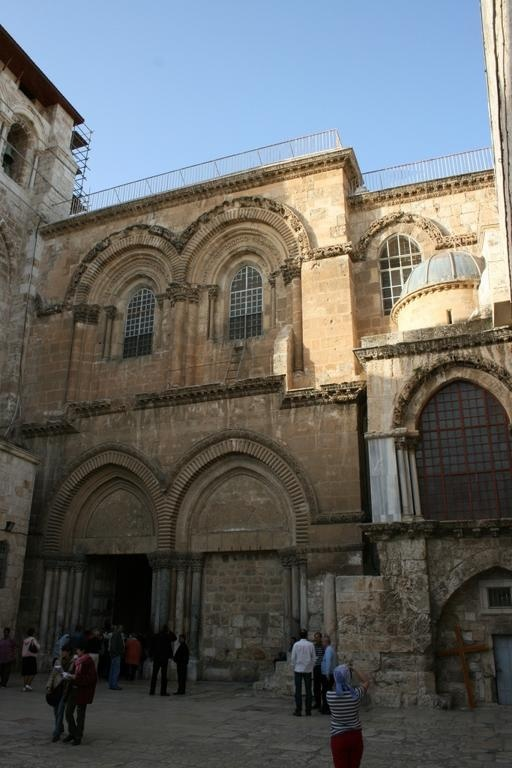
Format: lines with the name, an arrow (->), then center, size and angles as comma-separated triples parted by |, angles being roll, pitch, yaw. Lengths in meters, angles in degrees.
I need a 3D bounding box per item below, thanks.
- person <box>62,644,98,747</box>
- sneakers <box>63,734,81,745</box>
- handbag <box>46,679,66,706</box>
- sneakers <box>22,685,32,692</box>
person -> -2.194, 3.810, 7.388 | 0.352, 1.119, 0.910 | 5, -19, -16
sneakers -> -2.191, 4.222, 7.121 | 0.125, 0.105, 0.348 | 16, -25, -41
handbag -> -2.501, 3.973, 7.599 | 0.245, 0.345, 0.133 | 4, -11, 38
sneakers -> -4.743, 6.313, 12.393 | 0.164, 0.116, 0.332 | 6, -20, -20
